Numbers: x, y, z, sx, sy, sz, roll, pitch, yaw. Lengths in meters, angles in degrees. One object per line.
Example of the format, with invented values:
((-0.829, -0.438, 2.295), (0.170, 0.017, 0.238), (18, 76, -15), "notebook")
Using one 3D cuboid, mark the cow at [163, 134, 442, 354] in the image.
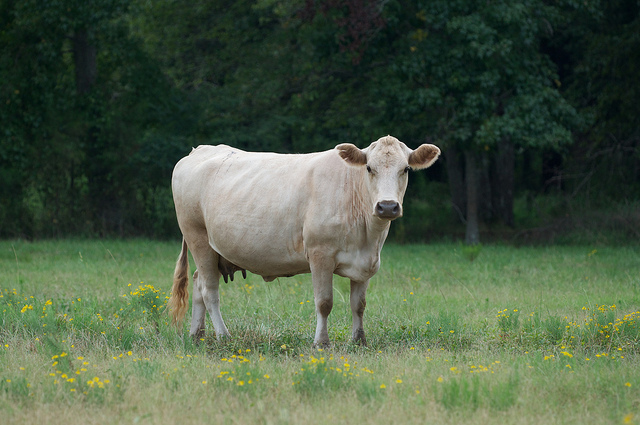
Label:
((-0.612, 0.711, 26.649), (6.555, 5.005, 2.683), (2, 10, 29), "cow")
